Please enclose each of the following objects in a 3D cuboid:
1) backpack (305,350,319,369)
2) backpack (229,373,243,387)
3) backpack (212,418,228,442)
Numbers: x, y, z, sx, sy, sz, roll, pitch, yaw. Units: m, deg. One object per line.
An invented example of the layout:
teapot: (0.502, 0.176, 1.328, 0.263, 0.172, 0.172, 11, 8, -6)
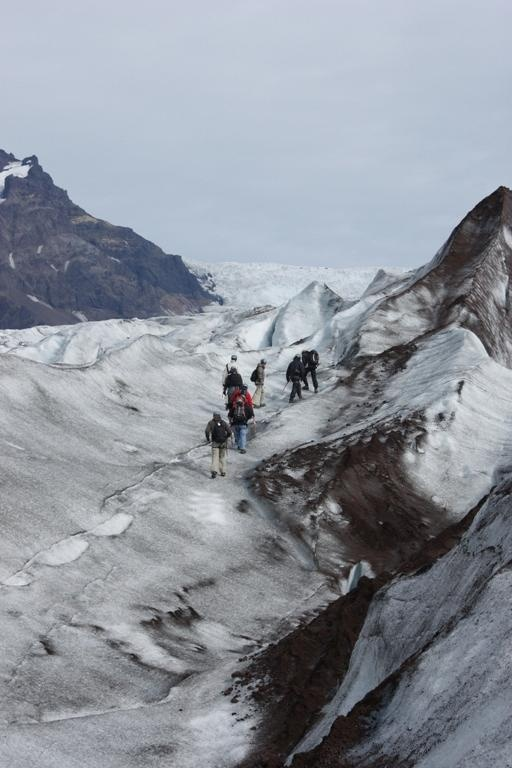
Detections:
backpack: (1.099, -0.484, 16.659, 0.250, 0.260, 0.354, 5, 2, 2)
backpack: (-0.350, -0.059, 13.942, 0.244, 0.280, 0.165, 3, -8, -26)
backpack: (-0.478, 0.653, 11.132, 0.260, 0.247, 0.181, 4, 3, -21)
